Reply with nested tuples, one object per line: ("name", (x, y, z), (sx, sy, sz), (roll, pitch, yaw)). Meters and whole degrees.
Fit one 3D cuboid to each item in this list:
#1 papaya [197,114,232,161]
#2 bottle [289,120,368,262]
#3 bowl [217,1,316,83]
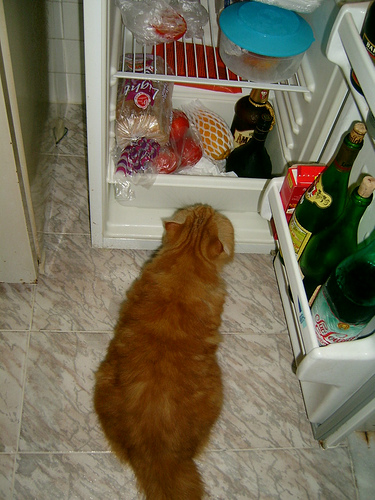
("papaya", (0.090, -0.383, 1.303), (0.090, 0.086, 0.182), (-21, 84, -14))
("bottle", (0.237, -0.097, 0.788), (0.100, 0.321, 0.093), (5, 53, -6))
("bowl", (0.171, -0.474, 0.905), (0.216, 0.164, 0.186), (13, 49, -1))
